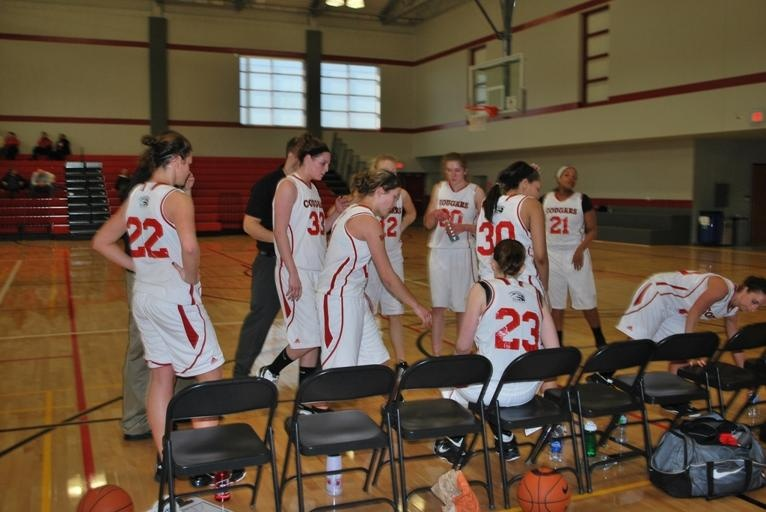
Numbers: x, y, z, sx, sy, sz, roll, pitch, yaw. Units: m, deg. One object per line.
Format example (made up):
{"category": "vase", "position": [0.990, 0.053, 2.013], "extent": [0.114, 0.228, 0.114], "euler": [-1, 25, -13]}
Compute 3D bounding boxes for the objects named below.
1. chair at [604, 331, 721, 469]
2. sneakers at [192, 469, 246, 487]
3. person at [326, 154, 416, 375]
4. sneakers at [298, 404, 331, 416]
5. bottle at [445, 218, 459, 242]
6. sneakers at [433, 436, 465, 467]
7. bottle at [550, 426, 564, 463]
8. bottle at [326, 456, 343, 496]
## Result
{"category": "chair", "position": [2.150, 0.925, 4.540], "extent": [0.580, 0.763, 0.570], "euler": [-1, 5, -12]}
{"category": "sneakers", "position": [-1.147, 1.530, 4.115], "extent": [0.285, 0.075, 0.183], "euler": [-4, 4, -5]}
{"category": "person", "position": [-0.149, 0.099, 4.446], "extent": [0.696, 1.477, 0.463], "euler": [-3, 7, -8]}
{"category": "sneakers", "position": [-0.557, 1.222, 4.726], "extent": [0.271, 0.133, 0.163], "euler": [4, -6, -9]}
{"category": "bottle", "position": [0.664, -0.246, 5.832], "extent": [0.117, 0.208, 0.122], "euler": [-17, -29, -10]}
{"category": "sneakers", "position": [0.480, 1.373, 4.252], "extent": [0.165, 0.226, 0.075], "euler": [0, 2, 17]}
{"category": "bottle", "position": [1.316, 1.402, 4.519], "extent": [0.109, 0.372, 0.095], "euler": [-4, 32, 5]}
{"category": "bottle", "position": [-0.338, 1.462, 4.084], "extent": [0.099, 0.373, 0.091], "euler": [1, 16, 0]}
